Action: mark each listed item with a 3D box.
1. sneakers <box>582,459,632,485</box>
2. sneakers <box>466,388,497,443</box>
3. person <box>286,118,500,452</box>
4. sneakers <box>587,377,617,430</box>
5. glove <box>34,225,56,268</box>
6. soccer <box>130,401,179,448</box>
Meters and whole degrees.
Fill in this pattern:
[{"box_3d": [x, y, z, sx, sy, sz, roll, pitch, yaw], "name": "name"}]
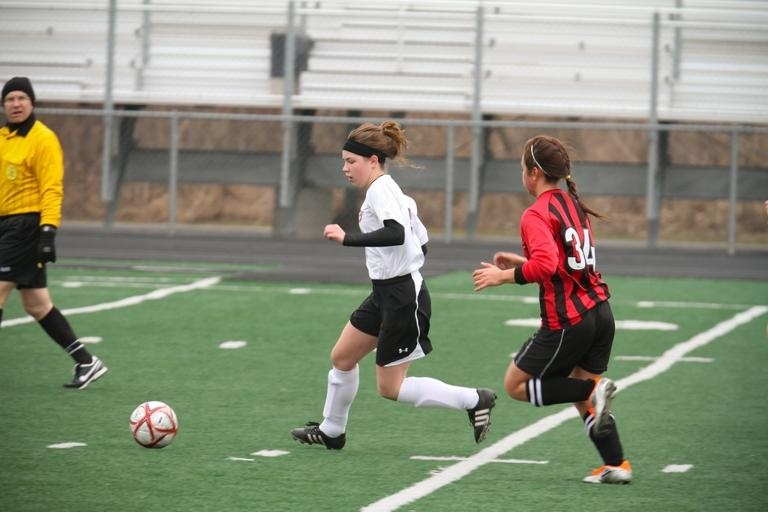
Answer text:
[{"box_3d": [1.810, 1.758, 8.691, 0.449, 0.172, 0.158, 0, -8, 7], "name": "sneakers"}, {"box_3d": [0.840, 1.320, 9.120, 0.287, 0.497, 0.177, 0, 9, -2], "name": "sneakers"}, {"box_3d": [0.044, 0.260, 9.072, 1.579, 2.808, 0.700, 2, 6, 3], "name": "person"}, {"box_3d": [1.720, 1.157, 8.554, 0.172, 0.420, 0.204, -6, 12, -32], "name": "sneakers"}, {"box_3d": [-3.153, -0.114, 10.066, 0.159, 0.383, 0.251, 0, 6, -19], "name": "glove"}, {"box_3d": [-1.879, 1.456, 9.125, 0.452, 0.404, 0.430, -8, 4, -19], "name": "soccer"}]
